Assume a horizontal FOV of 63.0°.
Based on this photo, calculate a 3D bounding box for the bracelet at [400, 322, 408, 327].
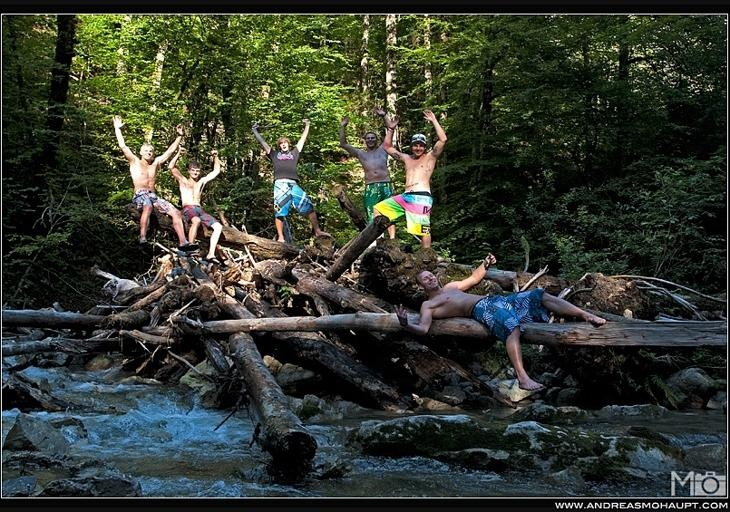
[{"bbox_3d":[0.585,1.026,8.927,0.071,0.019,0.062,6,-31,14],"label":"bracelet"}]

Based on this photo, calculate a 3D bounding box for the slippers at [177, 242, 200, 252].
[{"bbox_3d":[-3.777,-0.186,12.694,0.405,0.144,0.383,3,1,-15],"label":"slippers"}]

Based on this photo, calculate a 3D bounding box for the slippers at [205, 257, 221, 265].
[{"bbox_3d":[-3.323,0.102,12.896,0.278,0.105,0.406,3,1,-14],"label":"slippers"}]

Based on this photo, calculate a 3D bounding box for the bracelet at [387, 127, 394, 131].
[{"bbox_3d":[0.511,-2.592,12.130,0.096,0.054,0.089,10,7,16],"label":"bracelet"}]

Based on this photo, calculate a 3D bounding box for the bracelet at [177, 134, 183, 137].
[{"bbox_3d":[-4.171,-2.729,13.432,0.080,0.019,0.075,4,-14,-29],"label":"bracelet"}]
